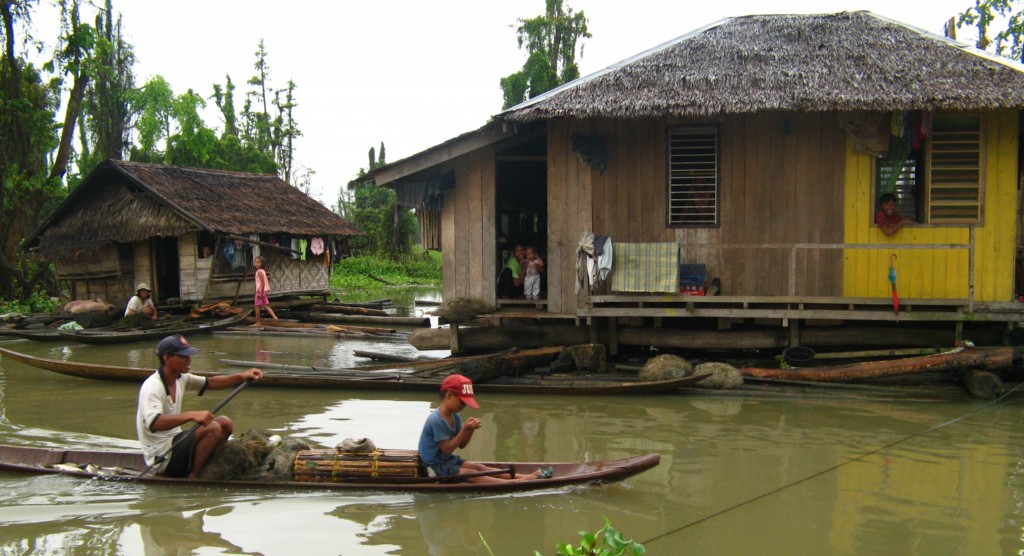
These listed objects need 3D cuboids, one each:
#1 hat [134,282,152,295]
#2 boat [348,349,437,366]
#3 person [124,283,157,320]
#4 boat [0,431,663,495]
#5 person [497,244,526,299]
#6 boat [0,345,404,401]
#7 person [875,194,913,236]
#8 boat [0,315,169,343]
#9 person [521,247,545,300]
[{"bbox_3d":[-11.031,0.297,33.374,0.593,0.321,0.727,2,-5,-20],"label":"hat"},{"bbox_3d":[-3.213,2.155,30.090,1.975,0.243,0.311,3,-30,11],"label":"boat"},{"bbox_3d":[-11.144,0.759,33.512,1.022,1.221,0.968,3,3,38],"label":"person"},{"bbox_3d":[-4.059,4.143,24.533,13.526,0.798,1.394,0,-5,4],"label":"boat"},{"bbox_3d":[-0.022,-0.147,30.278,0.894,1.271,0.994,-4,33,-10],"label":"person"},{"bbox_3d":[-7.838,2.466,28.347,8.929,1.097,1.129,3,-2,2],"label":"boat"},{"bbox_3d":[9.648,-1.573,28.130,0.792,0.993,1.053,-22,30,-38],"label":"person"},{"bbox_3d":[-12.543,1.520,32.855,4.429,0.545,0.865,0,1,-34],"label":"boat"},{"bbox_3d":[0.574,-0.139,29.621,0.515,1.408,0.697,0,-2,0],"label":"person"}]
